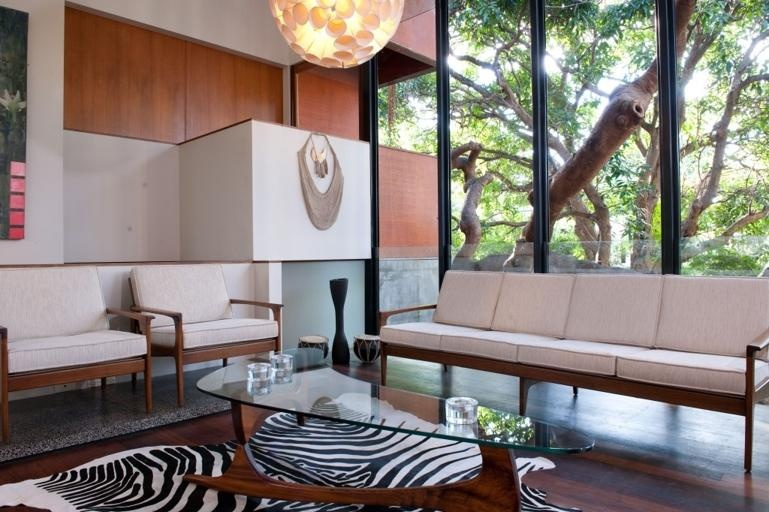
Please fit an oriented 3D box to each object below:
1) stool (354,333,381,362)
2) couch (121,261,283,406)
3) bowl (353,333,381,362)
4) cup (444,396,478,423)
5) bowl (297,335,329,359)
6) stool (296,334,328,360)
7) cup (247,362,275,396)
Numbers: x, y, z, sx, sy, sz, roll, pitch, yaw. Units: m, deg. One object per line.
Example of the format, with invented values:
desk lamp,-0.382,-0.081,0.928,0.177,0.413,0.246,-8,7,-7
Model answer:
stool,-0.195,1.000,5.731,0.277,0.245,0.315,1,-7,-4
couch,-1.737,0.616,5.128,1.170,1.270,1.381,-4,-4,40
bowl,-0.199,0.997,5.717,0.276,0.243,0.314,1,-7,-4
cup,0.415,0.847,2.949,0.138,0.086,0.140,0,-3,0
bowl,-0.735,0.905,5.480,0.296,0.229,0.333,2,-6,-10
stool,-0.728,0.912,5.446,0.300,0.229,0.331,2,-5,-14
cup,-0.851,0.827,3.558,0.173,0.202,0.175,-2,-1,0
